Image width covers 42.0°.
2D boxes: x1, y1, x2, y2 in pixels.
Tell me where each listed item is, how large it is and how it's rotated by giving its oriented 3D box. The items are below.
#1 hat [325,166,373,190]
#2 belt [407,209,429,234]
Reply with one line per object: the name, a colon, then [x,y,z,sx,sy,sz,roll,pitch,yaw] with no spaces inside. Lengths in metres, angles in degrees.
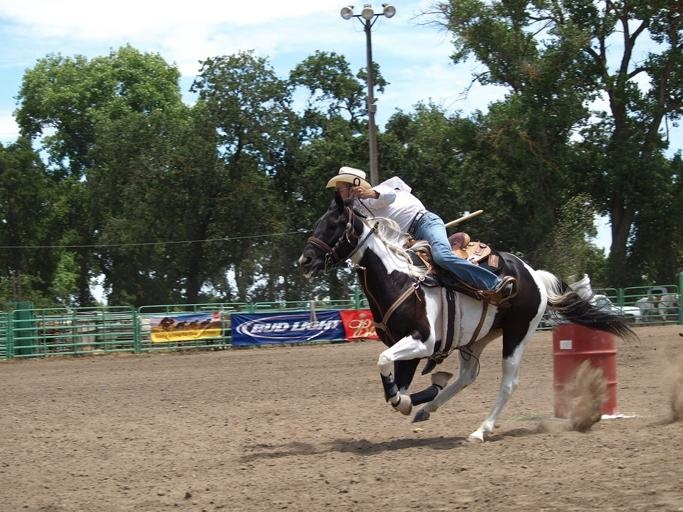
hat: [0.136,-1.318,14.829,0.712,0.184,0.493,8,-2,4]
belt: [1.255,-0.552,14.821,0.366,0.387,0.314,11,-38,-5]
